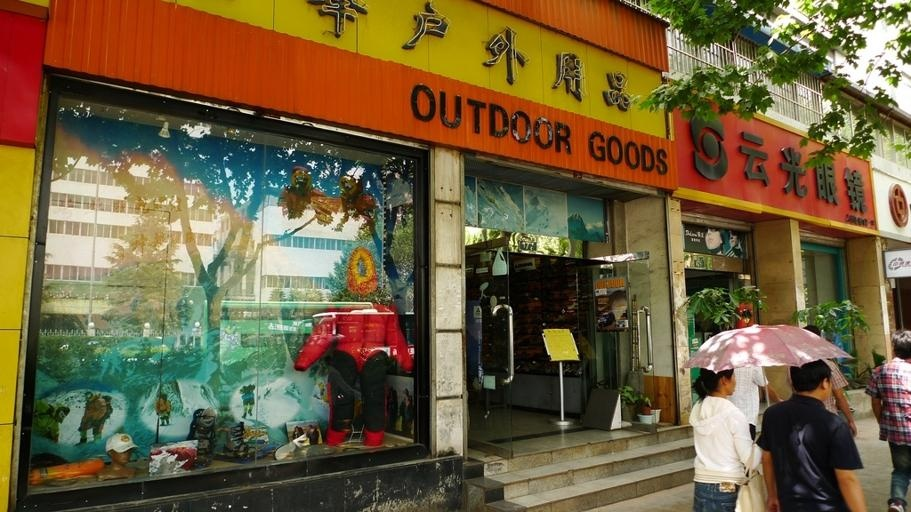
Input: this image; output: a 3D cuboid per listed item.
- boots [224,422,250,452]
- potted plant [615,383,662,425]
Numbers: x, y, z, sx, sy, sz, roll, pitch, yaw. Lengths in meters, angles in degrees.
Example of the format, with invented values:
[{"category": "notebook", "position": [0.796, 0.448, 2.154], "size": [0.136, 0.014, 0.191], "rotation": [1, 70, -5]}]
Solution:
[{"category": "boots", "position": [-2.964, 2.424, 8.858], "size": [0.330, 0.359, 0.356], "rotation": [2, 0, 7]}, {"category": "potted plant", "position": [3.438, 2.671, 11.920], "size": [0.838, 0.677, 0.617], "rotation": [2, -10, -23]}]
